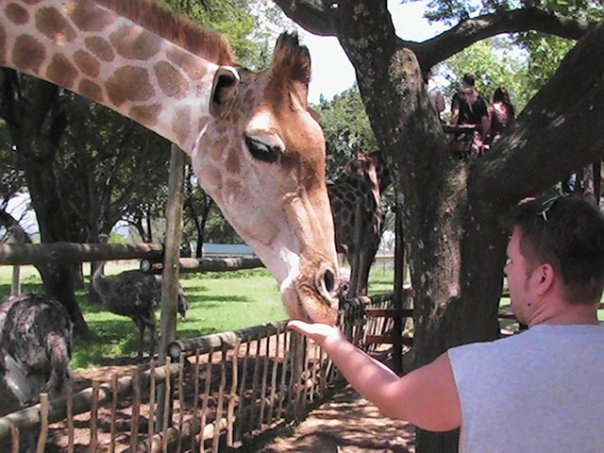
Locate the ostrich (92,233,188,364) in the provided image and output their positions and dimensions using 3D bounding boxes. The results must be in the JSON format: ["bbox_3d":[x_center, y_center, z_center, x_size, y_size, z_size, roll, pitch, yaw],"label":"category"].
[{"bbox_3d":[-3.428,1.288,11.259,1.808,2.743,1.840,9,6,27],"label":"ostrich"}]

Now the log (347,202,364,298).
[{"bbox_3d":[0.967,0.370,9.905,0.272,1.635,0.285,-2,11,-38],"label":"log"}]

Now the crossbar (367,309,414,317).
[{"bbox_3d":[1.404,1.314,8.663,0.233,0.127,0.988,3,-7,-30],"label":"crossbar"}]

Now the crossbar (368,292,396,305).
[{"bbox_3d":[1.449,1.245,10.000,0.181,0.188,1.691,23,-2,17],"label":"crossbar"}]

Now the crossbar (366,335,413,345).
[{"bbox_3d":[1.381,1.724,8.679,0.281,0.155,1.109,3,-7,-25],"label":"crossbar"}]

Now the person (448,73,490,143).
[{"bbox_3d":[2.814,-1.977,9.254,0.604,1.354,0.794,-2,-5,19],"label":"person"}]

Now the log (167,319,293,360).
[{"bbox_3d":[-0.695,1.230,6.337,0.204,0.218,1.921,-17,-11,38],"label":"log"}]

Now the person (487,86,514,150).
[{"bbox_3d":[3.362,-1.894,9.331,0.388,1.165,0.953,-2,-5,22],"label":"person"}]

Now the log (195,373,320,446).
[{"bbox_3d":[-0.506,2.191,6.802,0.411,0.446,2.349,-3,-7,29],"label":"log"}]
